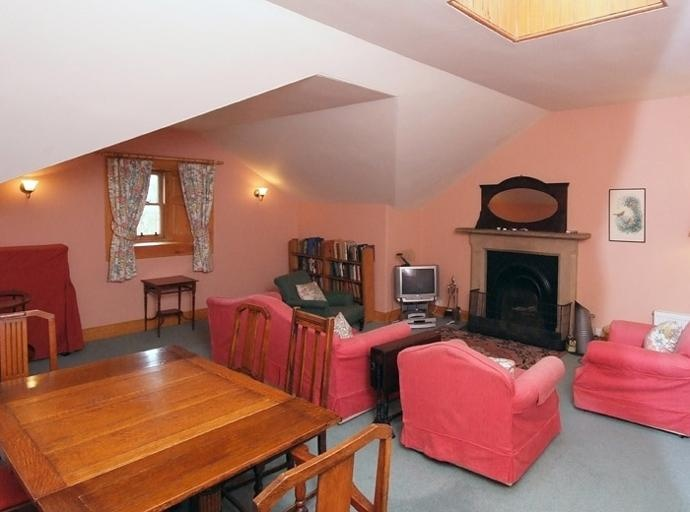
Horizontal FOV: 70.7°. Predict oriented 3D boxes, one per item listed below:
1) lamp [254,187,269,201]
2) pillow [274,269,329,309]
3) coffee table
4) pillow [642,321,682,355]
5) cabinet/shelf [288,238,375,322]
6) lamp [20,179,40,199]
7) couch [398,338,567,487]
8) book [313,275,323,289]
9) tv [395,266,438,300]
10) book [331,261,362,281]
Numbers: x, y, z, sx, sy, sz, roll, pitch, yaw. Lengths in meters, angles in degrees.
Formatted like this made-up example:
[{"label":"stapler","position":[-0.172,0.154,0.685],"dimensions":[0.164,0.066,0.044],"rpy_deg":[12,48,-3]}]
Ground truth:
[{"label":"lamp","position":[-1.379,-1.034,8.151],"dimensions":[0.201,0.251,0.214],"rpy_deg":[2,4,34]},{"label":"pillow","position":[-0.531,0.449,6.753],"dimensions":[0.484,0.607,0.645],"rpy_deg":[-18,-2,36]},{"label":"coffee table","position":[-2.543,0.694,7.120],"dimensions":[0.750,0.777,0.632],"rpy_deg":[-4,14,-26]},{"label":"pillow","position":[2.917,0.762,4.461],"dimensions":[0.109,0.152,0.194],"rpy_deg":[41,40,18]},{"label":"cabinet/shelf","position":[-0.121,0.362,7.134],"dimensions":[0.291,1.012,1.174],"rpy_deg":[-11,13,-44]},{"label":"lamp","position":[-3.923,-0.837,6.054],"dimensions":[0.201,0.210,0.206],"rpy_deg":[-2,3,12]},{"label":"couch","position":[1.113,0.893,4.114],"dimensions":[1.248,1.171,1.111],"rpy_deg":[5,13,43]},{"label":"book","position":[-0.422,0.415,7.757],"dimensions":[0.111,0.201,0.207],"rpy_deg":[1,2,24]},{"label":"tv","position":[1.051,0.378,7.540],"dimensions":[0.784,0.692,0.458],"rpy_deg":[1,7,-2]},{"label":"book","position":[0.042,0.224,7.700],"dimensions":[0.406,0.307,0.430],"rpy_deg":[5,2,39]}]
